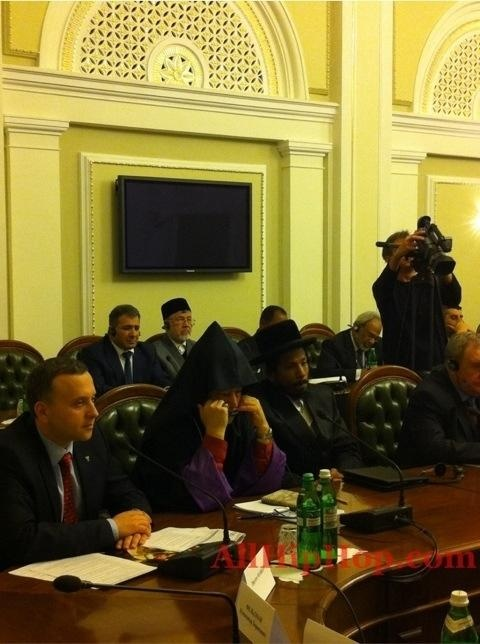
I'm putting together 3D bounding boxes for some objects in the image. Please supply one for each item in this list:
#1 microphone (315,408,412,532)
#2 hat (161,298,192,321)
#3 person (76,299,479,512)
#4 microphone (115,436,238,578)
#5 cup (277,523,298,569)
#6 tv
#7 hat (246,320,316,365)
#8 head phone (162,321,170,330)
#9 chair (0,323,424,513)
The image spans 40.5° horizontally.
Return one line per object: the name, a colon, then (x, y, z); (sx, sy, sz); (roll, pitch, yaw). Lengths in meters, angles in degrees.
microphone: (0.377, 0.470, 1.921); (0.277, 0.315, 0.183); (-3, -4, 40)
hat: (-0.516, -0.093, 5.184); (0.179, 0.127, 0.184); (-23, -10, 32)
person: (0.277, 0.325, 2.553); (1.158, 0.492, 0.674); (4, -7, -39)
microphone: (-0.152, 0.466, 1.622); (0.300, 0.332, 0.211); (-1, -7, 23)
cup: (0.116, 0.533, 1.552); (0.049, 0.082, 0.049); (1, -7, 0)
tv: (-0.560, -0.890, 5.898); (0.935, 0.593, 0.120); (-2, 4, -29)
hat: (0.210, 0.043, 2.821); (0.283, 0.109, 0.240); (-24, -9, -33)
head phone: (-0.602, 0.024, 5.237); (0.059, 0.077, 0.074); (6, 10, -26)
chair: (-0.226, 0.416, 2.590); (0.928, 0.638, 0.620); (-15, -10, 31)
